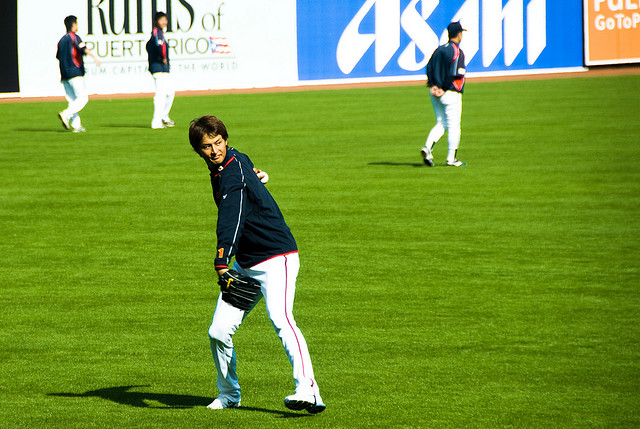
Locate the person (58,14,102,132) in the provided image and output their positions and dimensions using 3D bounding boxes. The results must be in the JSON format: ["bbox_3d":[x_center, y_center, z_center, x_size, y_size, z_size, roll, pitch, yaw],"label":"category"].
[{"bbox_3d":[-5.693,-3.263,30.472,0.715,2.682,0.713,-4,10,-11],"label":"person"}]

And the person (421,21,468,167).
[{"bbox_3d":[2.442,-2.220,26.481,0.841,2.508,0.416,-1,10,7],"label":"person"}]

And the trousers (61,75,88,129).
[{"bbox_3d":[-5.673,-2.645,30.594,0.543,1.280,0.710,-4,10,-11],"label":"trousers"}]

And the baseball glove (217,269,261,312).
[{"bbox_3d":[-1.206,1.121,19.723,0.629,0.638,0.154,-3,10,-5],"label":"baseball glove"}]

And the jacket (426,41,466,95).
[{"bbox_3d":[2.480,-3.021,26.427,0.556,0.976,0.924,-12,22,-42],"label":"jacket"}]

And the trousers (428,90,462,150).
[{"bbox_3d":[2.526,-1.971,26.534,0.546,1.267,0.795,0,-2,-2],"label":"trousers"}]

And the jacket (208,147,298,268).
[{"bbox_3d":[-1.059,-0.113,19.772,1.117,1.770,0.468,-3,10,-6],"label":"jacket"}]

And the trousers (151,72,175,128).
[{"bbox_3d":[-3.693,-2.719,31.128,0.674,1.851,0.565,-2,54,-8],"label":"trousers"}]

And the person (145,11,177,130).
[{"bbox_3d":[-3.716,-3.379,30.702,0.613,2.701,1.003,-3,10,-7],"label":"person"}]
